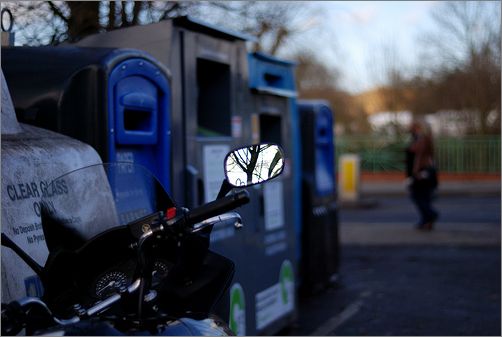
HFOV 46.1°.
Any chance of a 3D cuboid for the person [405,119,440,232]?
[{"bbox_3d":[3.081,0.151,10.603,0.538,2.042,0.918,0,4,17],"label":"person"}]
